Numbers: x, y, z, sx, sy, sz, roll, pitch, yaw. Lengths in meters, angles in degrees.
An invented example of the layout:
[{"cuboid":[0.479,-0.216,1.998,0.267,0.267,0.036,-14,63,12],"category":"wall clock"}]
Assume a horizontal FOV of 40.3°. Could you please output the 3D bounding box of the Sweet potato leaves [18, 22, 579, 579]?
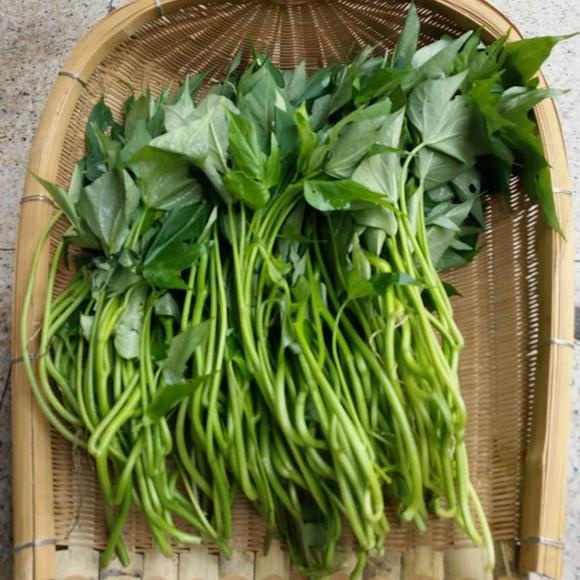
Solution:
[{"cuboid":[-0.019,-0.004,0.800,0.598,0.153,0.530,0,73,-3],"category":"Sweet potato leaves"}]
